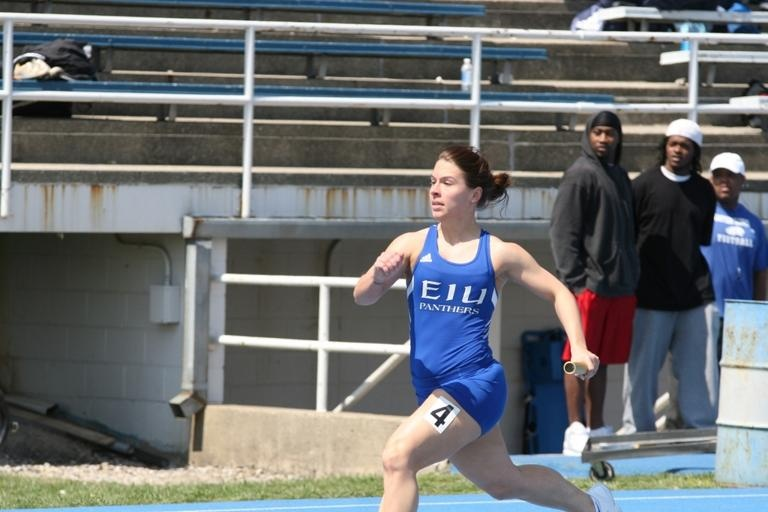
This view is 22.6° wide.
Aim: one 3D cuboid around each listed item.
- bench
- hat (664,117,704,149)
[{"bbox_3d":[-0.212,-1.849,21.107,7.835,1.531,1.950,1,-4,-8],"label":"bench"},{"bbox_3d":[3.074,-1.296,19.655,0.327,0.208,0.323,13,3,-36],"label":"hat"}]
